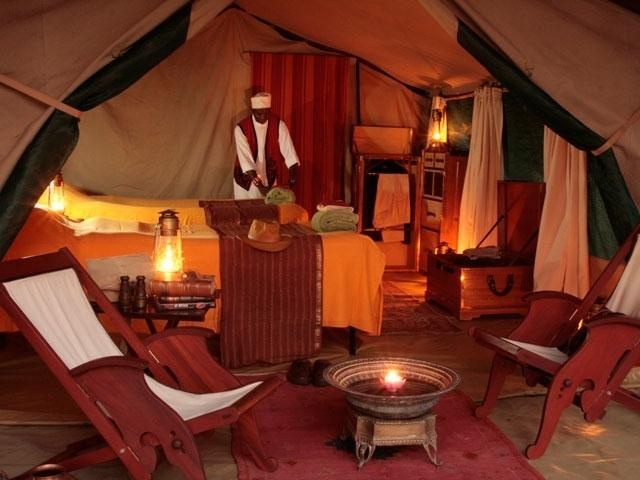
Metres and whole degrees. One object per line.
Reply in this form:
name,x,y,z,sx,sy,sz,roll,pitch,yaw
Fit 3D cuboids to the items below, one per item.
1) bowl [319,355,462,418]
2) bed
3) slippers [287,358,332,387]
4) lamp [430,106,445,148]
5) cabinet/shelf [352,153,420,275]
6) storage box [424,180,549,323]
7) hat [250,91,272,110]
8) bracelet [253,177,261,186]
bowl,0.385,0.785,2.890,0.649,0.135,0.647,-2,8,0
bed,-0.912,0.065,4.333,2.534,0.967,1.496,-2,12,-12
slippers,-0.089,0.896,3.666,0.339,0.158,0.214,2,1,-12
lamp,1.466,-1.385,6.679,0.223,0.456,0.394,4,13,11
cabinet/shelf,0.924,-0.293,7.240,0.508,1.535,0.878,-7,1,12
storage box,1.722,0.068,5.841,1.335,1.669,1.235,0,7,-6
hat,-0.633,-1.451,5.705,0.208,0.196,0.256,-1,5,-3
bracelet,-0.671,-0.617,5.665,0.110,0.100,0.026,0,1,3
